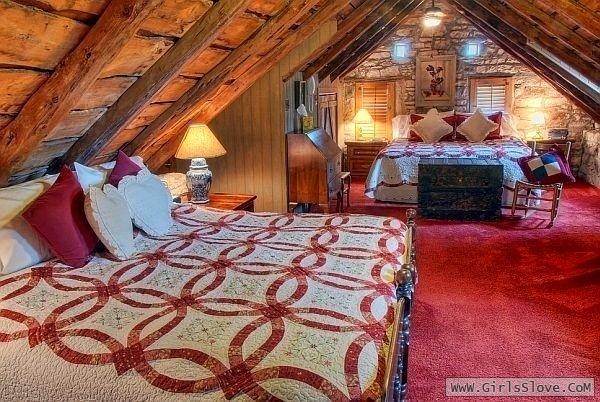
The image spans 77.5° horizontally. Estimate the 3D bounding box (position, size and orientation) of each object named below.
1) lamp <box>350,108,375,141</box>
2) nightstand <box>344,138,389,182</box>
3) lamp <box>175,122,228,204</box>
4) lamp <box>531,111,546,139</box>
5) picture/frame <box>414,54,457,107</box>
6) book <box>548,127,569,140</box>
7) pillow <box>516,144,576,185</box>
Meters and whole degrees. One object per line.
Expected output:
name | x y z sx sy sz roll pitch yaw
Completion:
lamp | 1.332 -1.588 7.850 0.478 0.667 0.341 2 10 7
nightstand | 1.348 -0.874 8.033 1.253 1.124 0.792 1 7 16
lamp | -1.092 -0.398 4.038 0.491 0.843 0.531 -4 10 -26
lamp | 4.519 -1.442 7.160 0.243 0.512 0.368 7 11 29
picture/frame | 2.760 -2.457 7.579 1.157 1.278 0.109 1 10 11
book | 4.790 -1.237 6.991 0.353 0.202 0.238 3 10 23
pillow | 3.284 -0.459 5.045 0.658 0.476 0.372 5 10 27
